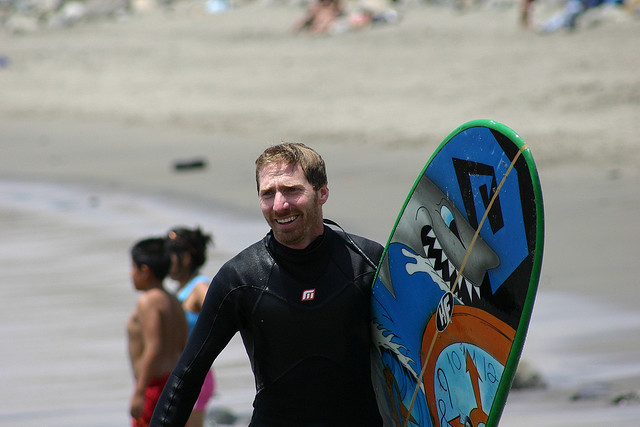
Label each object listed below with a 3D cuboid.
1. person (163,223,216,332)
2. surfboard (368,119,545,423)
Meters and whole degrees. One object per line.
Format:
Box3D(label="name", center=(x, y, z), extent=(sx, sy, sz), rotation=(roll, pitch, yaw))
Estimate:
Box3D(label="person", center=(-1.275, 0.652, 16.952), extent=(0.569, 1.274, 0.988), rotation=(2, -2, 5))
Box3D(label="surfboard", center=(1.216, 0.618, 14.797), extent=(1.046, 3.213, 0.444), rotation=(26, 9, 32))
